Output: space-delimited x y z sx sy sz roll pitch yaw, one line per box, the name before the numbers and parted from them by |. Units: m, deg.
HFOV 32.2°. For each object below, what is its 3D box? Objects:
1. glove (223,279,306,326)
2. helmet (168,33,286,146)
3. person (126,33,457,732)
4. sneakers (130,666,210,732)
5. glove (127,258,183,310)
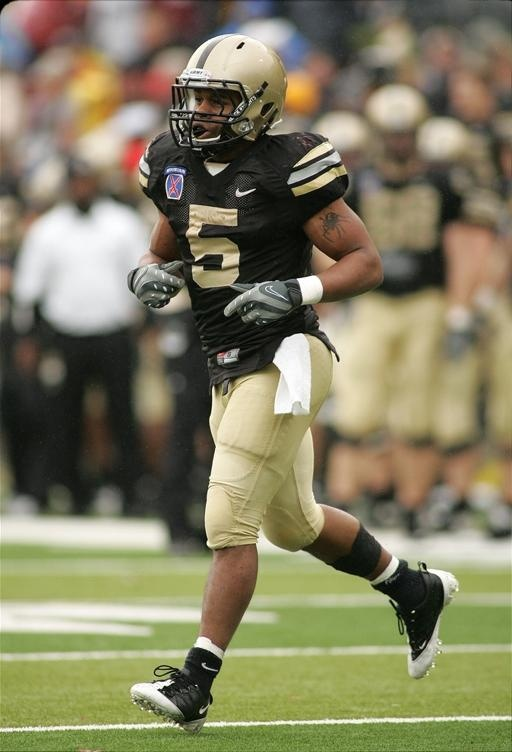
glove | 0.017 -0.157 1.860 0.143 0.082 0.054 -22 -6 27
helmet | -0.057 -0.696 2.139 0.260 0.226 0.313 15 31 27
person | -0.001 -0.032 2.017 0.605 1.428 0.912 -3 22 -1
sneakers | -0.176 0.674 1.870 0.100 0.212 0.105 -8 53 40
glove | -0.266 -0.228 2.137 0.099 0.102 0.058 -24 -18 1
